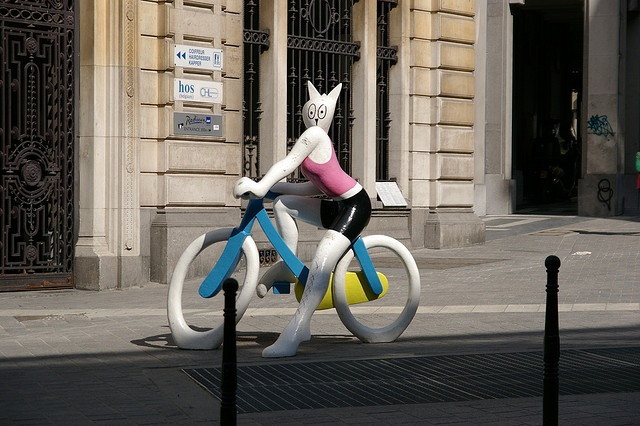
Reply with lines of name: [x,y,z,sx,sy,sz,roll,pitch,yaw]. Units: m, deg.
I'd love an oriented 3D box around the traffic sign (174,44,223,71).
traffic sign: [-2.203,-2.778,14.083,1.115,0.404,0.077,-3,8,-43]
